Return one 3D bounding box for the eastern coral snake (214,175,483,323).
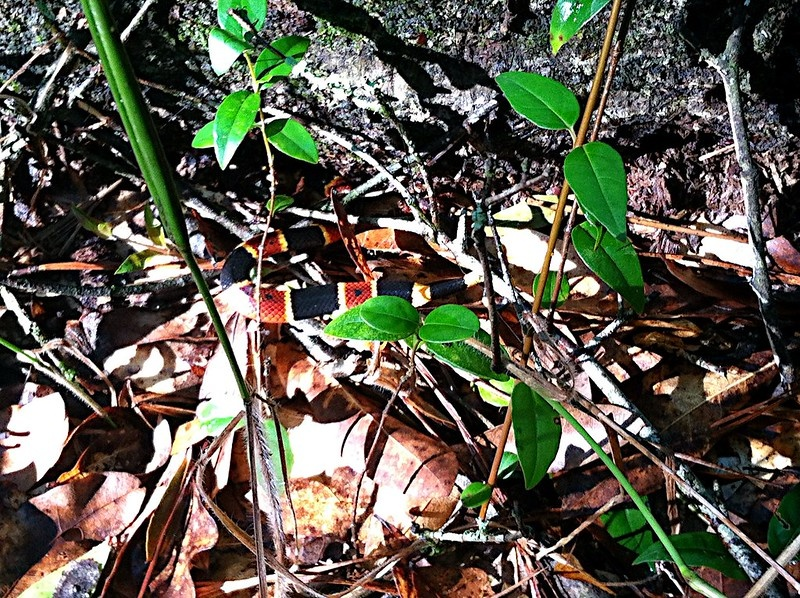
[{"bbox_3d":[-0.234,-0.145,3.717,0.724,1.160,0.211,-8,-60,46],"label":"eastern coral snake"}]
